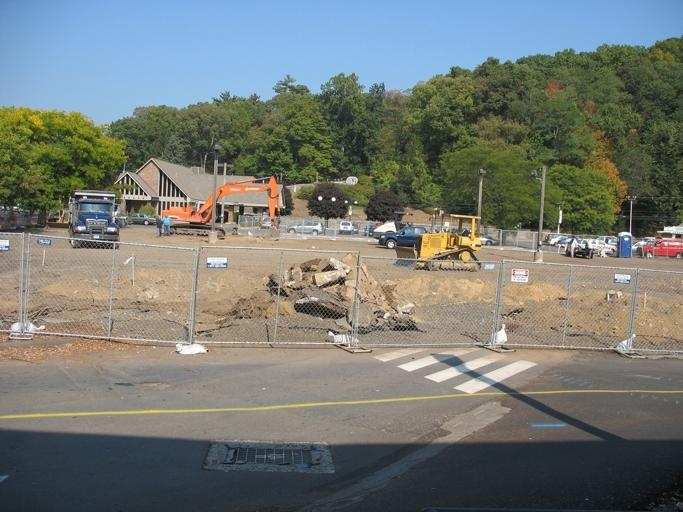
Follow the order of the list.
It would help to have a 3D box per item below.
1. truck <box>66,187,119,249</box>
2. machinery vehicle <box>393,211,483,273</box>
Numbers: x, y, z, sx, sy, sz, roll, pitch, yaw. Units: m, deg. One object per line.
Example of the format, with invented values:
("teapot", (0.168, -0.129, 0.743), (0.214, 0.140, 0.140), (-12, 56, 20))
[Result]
("truck", (-12.808, -1.819, 37.473), (2.295, 2.619, 4.363), (-1, 15, -19))
("machinery vehicle", (4.975, -0.689, 36.341), (4.239, 2.187, 2.185), (0, 10, 2))
